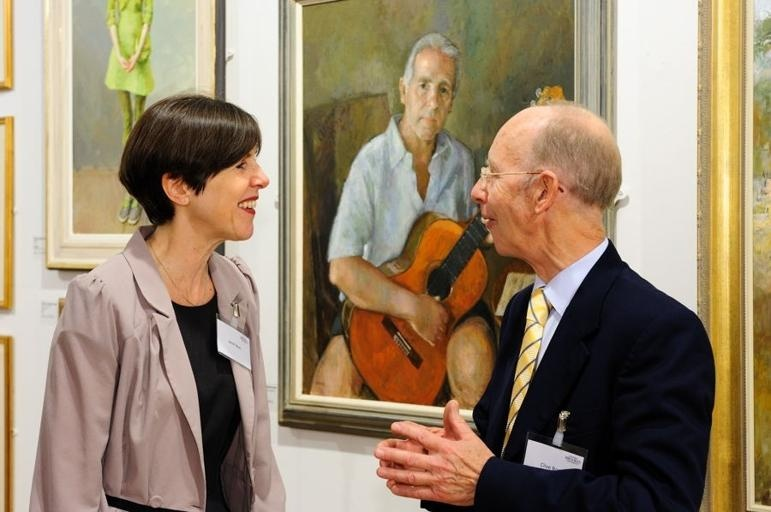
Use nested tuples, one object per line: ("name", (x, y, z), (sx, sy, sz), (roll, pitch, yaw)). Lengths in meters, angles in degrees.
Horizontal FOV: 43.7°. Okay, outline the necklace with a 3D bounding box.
("necklace", (-0.994, 0.100, 4.680), (0.194, 0.422, 0.092), (-27, 10, -26))
